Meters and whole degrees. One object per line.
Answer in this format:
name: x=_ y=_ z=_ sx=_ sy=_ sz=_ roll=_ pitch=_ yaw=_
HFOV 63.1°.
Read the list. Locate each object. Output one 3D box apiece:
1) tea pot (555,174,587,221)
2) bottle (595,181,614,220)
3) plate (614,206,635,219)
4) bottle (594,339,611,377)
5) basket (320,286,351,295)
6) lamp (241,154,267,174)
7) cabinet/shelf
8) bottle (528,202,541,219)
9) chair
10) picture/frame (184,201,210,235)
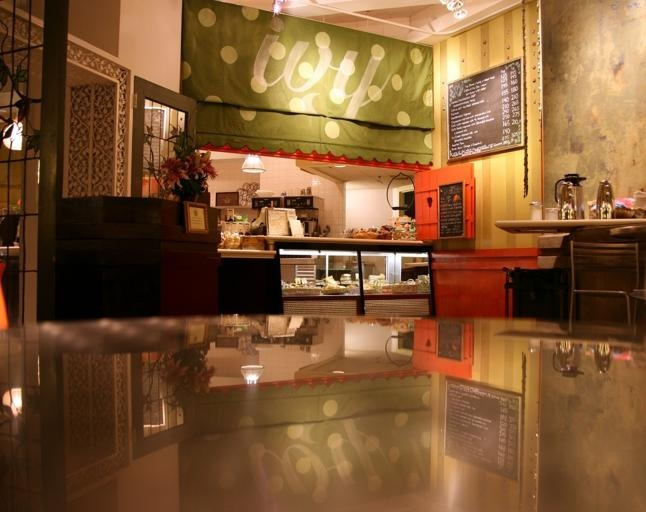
tea pot: x=1.915 y=-0.449 z=4.070 sx=0.186 sy=0.440 sz=0.915 roll=0 pitch=-3 yaw=26
bottle: x=2.077 y=-0.412 z=3.896 sx=0.122 sy=0.292 sz=0.154 roll=0 pitch=-3 yaw=31
plate: x=2.233 y=-0.315 z=3.905 sx=0.112 sy=0.050 sz=0.108 roll=0 pitch=-4 yaw=17
bottle: x=0.515 y=0.189 z=0.974 sx=0.032 sy=0.065 sz=0.032 roll=0 pitch=1 yaw=0
basket: x=0.119 y=0.340 z=5.139 sx=0.315 sy=0.080 sz=0.078 roll=3 pitch=-3 yaw=-38
lamp: x=-0.938 y=-1.271 z=7.048 sx=0.265 sy=0.300 sz=0.717 roll=2 pitch=-2 yaw=-8
cabinet/shelf: x=0.410 y=0.209 z=5.370 sx=0.513 sy=0.790 sz=2.027 roll=-1 pitch=-3 yaw=44
bottle: x=1.688 y=-0.356 z=4.185 sx=0.065 sy=0.146 sz=0.160 roll=0 pitch=-3 yaw=17
chair: x=1.651 y=0.170 z=3.076 sx=0.376 sy=0.715 sz=0.432 roll=2 pitch=-11 yaw=17
picture/frame: x=-0.928 y=-0.270 z=3.831 sx=0.023 sy=0.205 sz=0.218 roll=-5 pitch=-5 yaw=22
